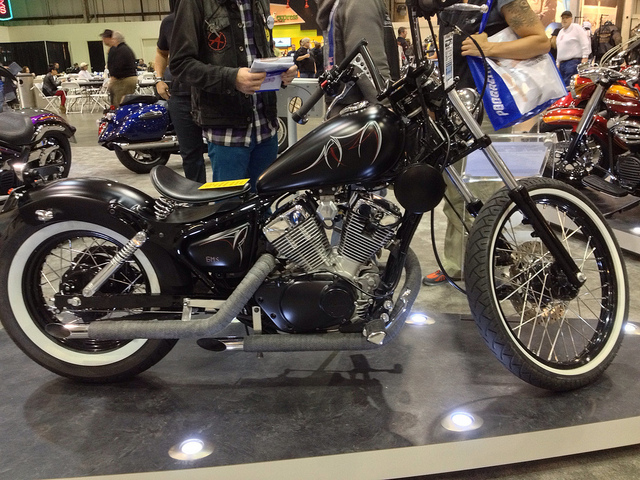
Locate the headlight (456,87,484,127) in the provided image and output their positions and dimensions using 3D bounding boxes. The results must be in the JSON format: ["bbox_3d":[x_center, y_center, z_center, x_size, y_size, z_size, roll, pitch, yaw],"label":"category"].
[{"bbox_3d":[0.614,-0.541,1.683,0.102,0.134,0.211,4,24,17],"label":"headlight"}]

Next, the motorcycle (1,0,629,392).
[{"bbox_3d":[-0.010,-0.292,2.375,3.825,1.740,1.373,-2,17,0],"label":"motorcycle"}]
